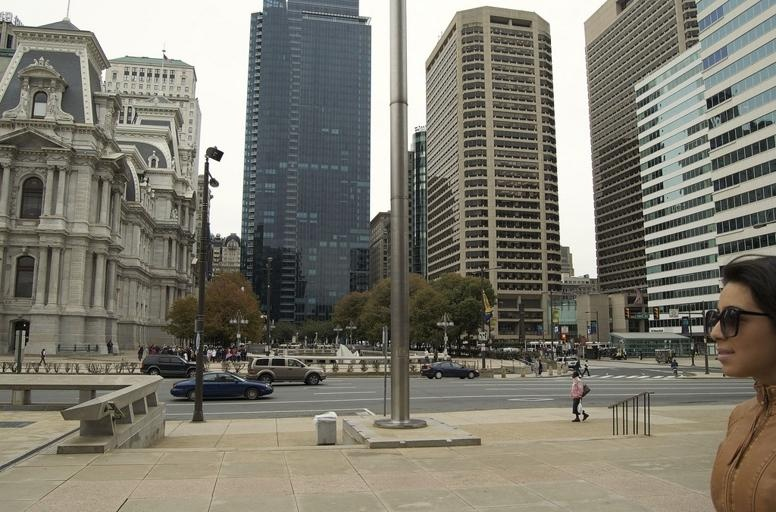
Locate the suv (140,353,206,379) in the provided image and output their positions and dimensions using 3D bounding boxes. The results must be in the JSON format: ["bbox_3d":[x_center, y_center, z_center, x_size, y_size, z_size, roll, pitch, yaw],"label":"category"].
[{"bbox_3d":[-19.838,10.425,67.704,5.482,2.069,2.780,0,-5,-12],"label":"suv"}]

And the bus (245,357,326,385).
[{"bbox_3d":[-8.744,9.939,64.872,6.463,2.392,2.649,0,-4,-13],"label":"bus"}]

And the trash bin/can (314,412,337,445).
[{"bbox_3d":[-3.942,10.378,45.362,1.601,1.939,1.716,1,-15,-10],"label":"trash bin/can"}]

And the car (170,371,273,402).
[{"bbox_3d":[-12.664,10.090,57.744,6.940,2.019,2.865,-1,-5,-8],"label":"car"}]
